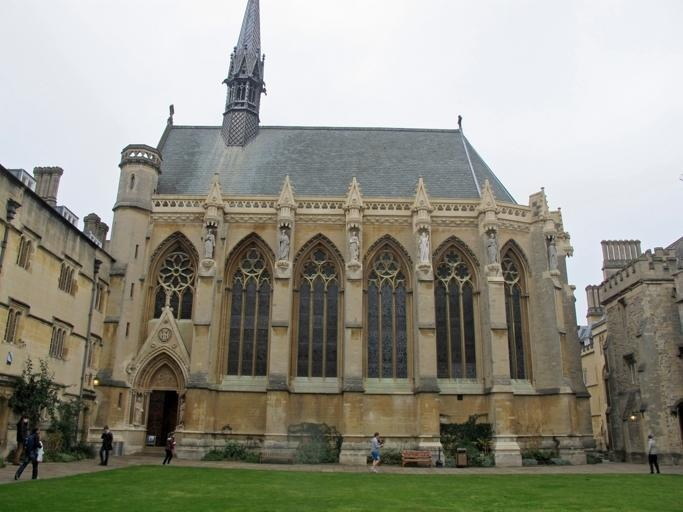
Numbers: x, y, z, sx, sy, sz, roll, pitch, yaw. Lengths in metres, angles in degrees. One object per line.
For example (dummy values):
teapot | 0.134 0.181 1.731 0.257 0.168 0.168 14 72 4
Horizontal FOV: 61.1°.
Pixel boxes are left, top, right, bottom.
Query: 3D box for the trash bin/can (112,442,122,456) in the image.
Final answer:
trash bin/can | -12.432 10.628 32.044 0.580 0.792 0.579 1 -14 4

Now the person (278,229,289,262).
person | -3.433 -0.738 34.437 0.611 2.031 0.386 1 -22 -7

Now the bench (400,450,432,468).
bench | 3.880 10.442 29.924 1.506 0.785 1.794 -3 -21 5

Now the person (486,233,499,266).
person | 8.967 -0.514 34.603 0.652 1.978 0.516 -6 -22 11

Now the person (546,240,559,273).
person | 12.911 -0.033 35.543 0.602 2.019 0.458 -7 -22 15

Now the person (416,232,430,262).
person | 4.834 -0.509 34.312 0.688 2.015 0.389 -3 -22 4

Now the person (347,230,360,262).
person | 0.705 -0.664 34.472 0.682 2.085 0.463 -2 -22 2
